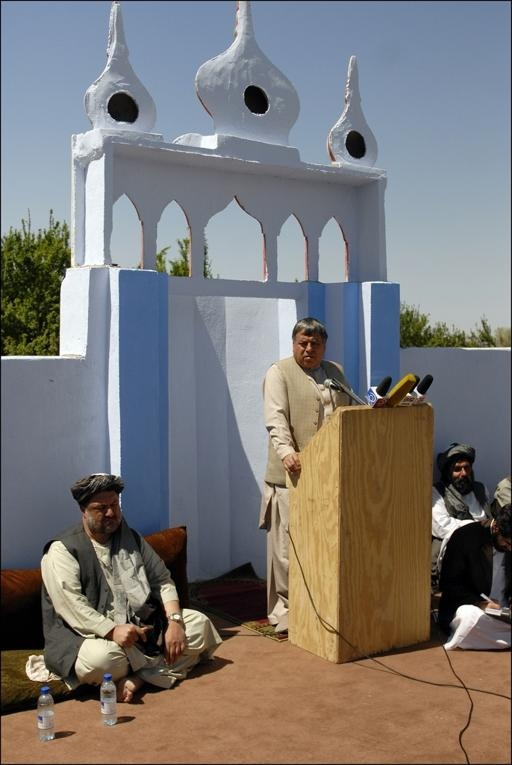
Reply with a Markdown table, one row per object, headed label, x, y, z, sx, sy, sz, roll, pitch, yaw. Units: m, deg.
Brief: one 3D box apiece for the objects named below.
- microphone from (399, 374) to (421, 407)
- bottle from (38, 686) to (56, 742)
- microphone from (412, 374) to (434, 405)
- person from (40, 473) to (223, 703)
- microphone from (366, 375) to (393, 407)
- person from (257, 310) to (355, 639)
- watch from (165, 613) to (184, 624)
| label | x | y | z | sx | sy | sz | roll | pitch | yaw |
| --- | --- | --- | --- | --- | --- | --- | --- | --- | --- |
| microphone | 0.814 | 0.020 | 5.163 | 0.120 | 0.149 | 0.156 | -5 | -26 | -2 |
| bottle | -0.874 | 1.362 | 4.190 | 0.072 | 0.156 | 0.247 | 0 | 3 | -12 |
| microphone | 0.858 | 0.034 | 5.226 | 0.087 | 0.152 | 0.441 | 1 | 3 | 9 |
| person | -0.610 | 0.937 | 4.807 | 0.792 | 0.940 | 0.673 | 0 | 3 | -17 |
| microphone | 0.621 | 0.047 | 5.071 | 0.113 | 0.157 | 0.292 | 1 | 3 | 6 |
| person | 0.230 | 0.510 | 5.590 | 0.459 | 1.727 | 0.678 | 2 | 3 | 25 |
| watch | -0.389 | 1.143 | 4.888 | 0.056 | 0.049 | 0.062 | 9 | -26 | -19 |
